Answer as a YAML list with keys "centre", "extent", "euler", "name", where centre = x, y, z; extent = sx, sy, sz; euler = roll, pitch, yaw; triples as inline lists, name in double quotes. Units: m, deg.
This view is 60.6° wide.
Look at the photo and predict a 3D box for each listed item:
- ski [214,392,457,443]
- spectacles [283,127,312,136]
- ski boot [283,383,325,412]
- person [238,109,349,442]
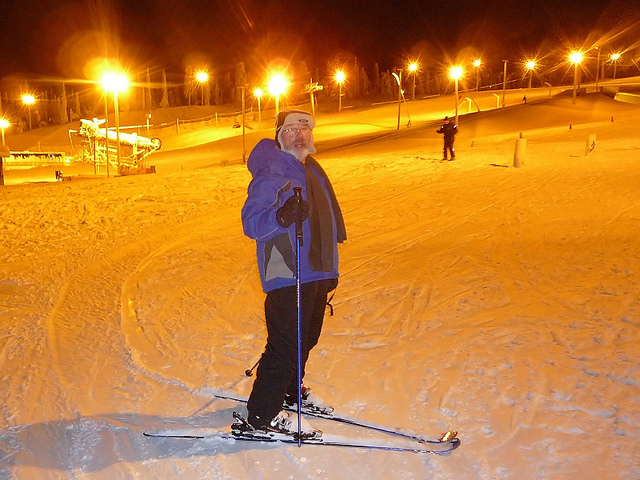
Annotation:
- centre: [0.151, 1.790, 5.458]
  extent: [2.988, 0.215, 0.209]
  euler: [6, 11, 11]
  name: "ski"
- centre: [-0.212, -1.034, 5.228]
  extent: [0.270, 0.078, 0.082]
  euler: [-7, 14, -27]
  name: "spectacles"
- centre: [-0.139, 1.679, 5.725]
  extent: [0.608, 0.214, 0.180]
  euler: [9, 11, 1]
  name: "ski boot"
- centre: [-0.301, 0.318, 5.280]
  extent: [0.881, 3.081, 0.995]
  euler: [1, 14, 9]
  name: "person"
